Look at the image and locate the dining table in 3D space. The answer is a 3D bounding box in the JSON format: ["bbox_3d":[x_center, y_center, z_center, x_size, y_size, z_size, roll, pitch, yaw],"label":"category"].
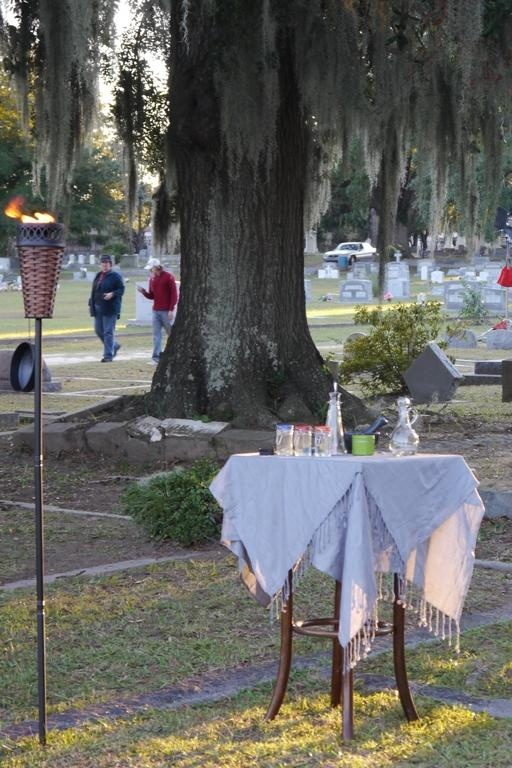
[{"bbox_3d":[0.268,0.817,5.494,1.092,1.091,1.054,-8,7,-42],"label":"dining table"}]

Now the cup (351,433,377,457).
[{"bbox_3d":[0.438,0.249,5.352,0.079,0.075,0.081,-1,-3,0],"label":"cup"}]

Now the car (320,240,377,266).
[{"bbox_3d":[4.916,-7.005,68.752,2.437,1.267,6.312,4,5,1],"label":"car"}]
